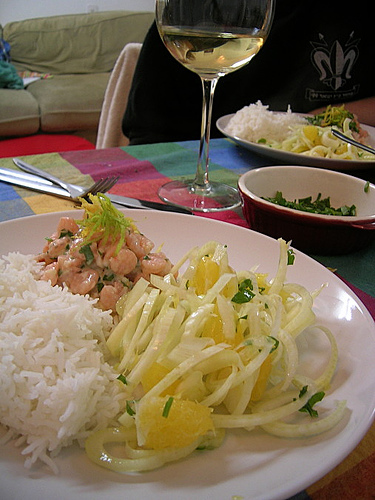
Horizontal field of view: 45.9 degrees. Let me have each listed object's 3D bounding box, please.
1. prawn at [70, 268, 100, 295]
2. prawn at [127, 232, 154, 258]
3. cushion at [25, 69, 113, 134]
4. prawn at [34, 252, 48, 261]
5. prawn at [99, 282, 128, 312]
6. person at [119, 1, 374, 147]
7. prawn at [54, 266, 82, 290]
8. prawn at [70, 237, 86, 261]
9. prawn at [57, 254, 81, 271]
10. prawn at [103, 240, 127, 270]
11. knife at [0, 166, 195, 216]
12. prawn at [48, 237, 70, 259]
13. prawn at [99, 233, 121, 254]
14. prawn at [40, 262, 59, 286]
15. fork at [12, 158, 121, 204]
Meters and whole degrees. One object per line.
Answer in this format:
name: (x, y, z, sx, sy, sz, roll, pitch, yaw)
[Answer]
prawn: (-0.179, 0.053, 0.753, 0.041, 0.014, 0.040, -5, 48, 17)
prawn: (-0.098, -0.004, 0.821, 0.045, 0.017, 0.047, 48, 39, 7)
cushion: (-1.501, -1.829, 5.588, 0.912, 0.666, 1.253, 2, 22, -11)
prawn: (-0.265, 0.012, 0.799, 0.017, 0.004, 0.016, 6, 22, 20)
prawn: (-0.120, 0.083, 0.758, 0.039, 0.014, 0.044, 14, 53, -30)
person: (0.366, -1.009, 2.550, 1.245, 0.438, 1.353, -25, 40, -31)
prawn: (-0.206, 0.050, 0.772, 0.011, 0.036, 0.039, 37, -29, -31)
prawn: (-0.184, -0.001, 0.784, 0.034, 0.037, 0.021, 1, -18, 30)
prawn: (-0.204, 0.021, 0.762, 0.035, 0.012, 0.025, 10, 39, 6)
prawn: (-0.122, 0.012, 0.770, 0.014, 0.051, 0.032, 23, -3, -40)
knife: (-0.258, -0.156, 1.181, 0.640, 0.032, 0.063, 15, 15, 15)
prawn: (-0.233, -0.004, 0.792, 0.025, 0.041, 0.016, 33, -12, 1)
prawn: (-0.138, -0.009, 0.790, 0.029, 0.038, 0.014, 39, 5, 26)
prawn: (-0.234, 0.042, 0.766, 0.031, 0.036, 0.014, 19, -7, 14)
fork: (-0.352, -0.192, 1.245, 0.452, 0.074, 0.081, 21, 39, 29)
